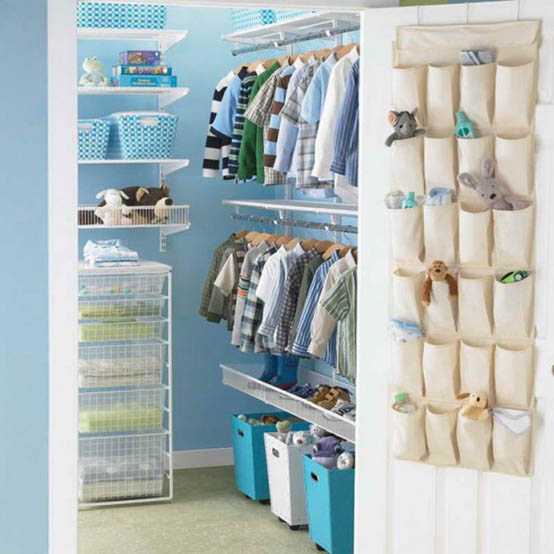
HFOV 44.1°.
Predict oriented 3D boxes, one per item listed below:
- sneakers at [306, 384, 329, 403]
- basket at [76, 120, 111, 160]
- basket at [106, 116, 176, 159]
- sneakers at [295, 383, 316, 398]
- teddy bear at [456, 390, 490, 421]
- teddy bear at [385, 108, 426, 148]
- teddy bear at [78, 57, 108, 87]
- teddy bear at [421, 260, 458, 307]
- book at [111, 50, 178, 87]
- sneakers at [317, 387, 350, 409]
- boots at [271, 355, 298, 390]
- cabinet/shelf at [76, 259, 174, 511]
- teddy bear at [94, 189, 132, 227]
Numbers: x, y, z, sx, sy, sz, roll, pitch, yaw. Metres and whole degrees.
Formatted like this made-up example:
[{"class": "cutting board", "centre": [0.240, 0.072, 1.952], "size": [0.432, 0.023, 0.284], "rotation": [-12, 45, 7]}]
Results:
[{"class": "sneakers", "centre": [0.207, 0.606, 3.541], "size": [0.048, 0.061, 0.146], "rotation": [-5, -7, 21]}, {"class": "basket", "centre": [-1.043, -0.777, 3.899], "size": [0.168, 0.226, 0.105], "rotation": [-1, 2, -16]}, {"class": "basket", "centre": [-0.750, -0.807, 3.898], "size": [0.245, 0.212, 0.353], "rotation": [-2, 4, -18]}, {"class": "sneakers", "centre": [0.149, 0.609, 3.703], "size": [0.047, 0.057, 0.140], "rotation": [1, 0, -11]}, {"class": "teddy bear", "centre": [0.558, 0.364, 1.944], "size": [0.088, 0.091, 0.045], "rotation": [2, -8, 13]}, {"class": "teddy bear", "centre": [0.362, -0.431, 1.979], "size": [0.121, 0.097, 0.061], "rotation": [2, 3, 42]}, {"class": "teddy bear", "centre": [-1.057, -1.171, 3.928], "size": [0.154, 0.176, 0.086], "rotation": [0, 2, -12]}, {"class": "teddy bear", "centre": [0.459, 0.016, 1.959], "size": [0.104, 0.128, 0.055], "rotation": [1, 2, 18]}, {"class": "book", "centre": [-0.759, -1.179, 3.927], "size": [0.346, 0.220, 0.126], "rotation": [0, 2, -8]}, {"class": "sneakers", "centre": [0.285, 0.611, 3.453], "size": [0.066, 0.084, 0.202], "rotation": [-8, -2, 35]}, {"class": "boots", "centre": [0.045, 0.536, 3.971], "size": [0.142, 0.156, 0.332], "rotation": [0, 2, 2]}, {"class": "cabinet/shelf", "centre": [-0.858, 0.591, 3.880], "size": [0.518, 1.353, 0.425], "rotation": [-1, 2, -15]}, {"class": "teddy bear", "centre": [-0.938, -0.397, 3.950], "size": [0.214, 0.208, 0.186], "rotation": [0, 2, -4]}]
